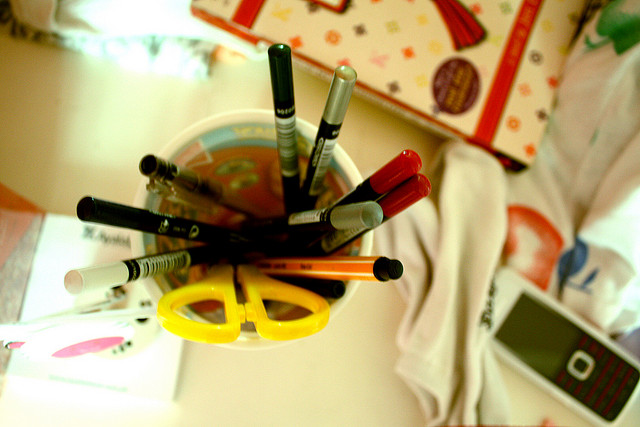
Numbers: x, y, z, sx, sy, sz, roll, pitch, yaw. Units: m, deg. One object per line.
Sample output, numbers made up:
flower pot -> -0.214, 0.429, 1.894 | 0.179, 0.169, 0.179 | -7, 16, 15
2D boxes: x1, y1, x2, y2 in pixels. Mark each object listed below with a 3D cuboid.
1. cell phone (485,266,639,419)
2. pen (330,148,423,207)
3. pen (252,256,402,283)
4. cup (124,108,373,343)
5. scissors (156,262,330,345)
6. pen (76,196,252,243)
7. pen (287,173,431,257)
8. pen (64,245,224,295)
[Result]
cell phone -> 0.277, 0.153, 0.636 | 0.132, 0.133, 0.061 | 25, -92, -5
pen -> 0.050, -0.022, 0.543 | 0.030, 0.030, 0.123 | -18, -15, -43
pen -> -0.003, 0.054, 0.552 | 0.198, 0.028, 0.028 | -5, -76, 45
cup -> -0.064, -0.022, 0.556 | 0.226, 0.191, 0.249 | -1, -84, -4
scissors -> -0.079, 0.085, 0.540 | 0.165, 0.173, 0.025 | 1, -76, -16
pen -> -0.144, 0.017, 0.574 | 0.028, 0.029, 0.256 | -67, -24, 0
pen -> 0.037, -0.004, 0.547 | 0.151, 0.026, 0.026 | -20, -27, 30
pen -> -0.168, 0.056, 0.535 | 0.187, 0.030, 0.034 | -7, -47, -44
